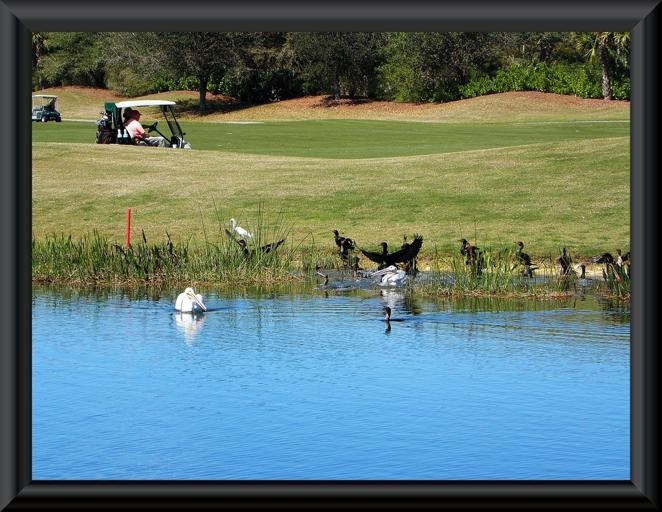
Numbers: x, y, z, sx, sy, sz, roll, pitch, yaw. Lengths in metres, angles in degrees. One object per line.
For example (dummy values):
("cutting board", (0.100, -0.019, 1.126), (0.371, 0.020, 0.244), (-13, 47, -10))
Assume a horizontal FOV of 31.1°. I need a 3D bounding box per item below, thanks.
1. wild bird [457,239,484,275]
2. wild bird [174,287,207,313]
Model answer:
("wild bird", (2.988, 0.076, 24.984), (0.425, 0.532, 1.254), (4, 7, 2))
("wild bird", (-2.611, 0.830, 22.267), (0.583, 0.445, 0.526), (-1, 11, -6))
